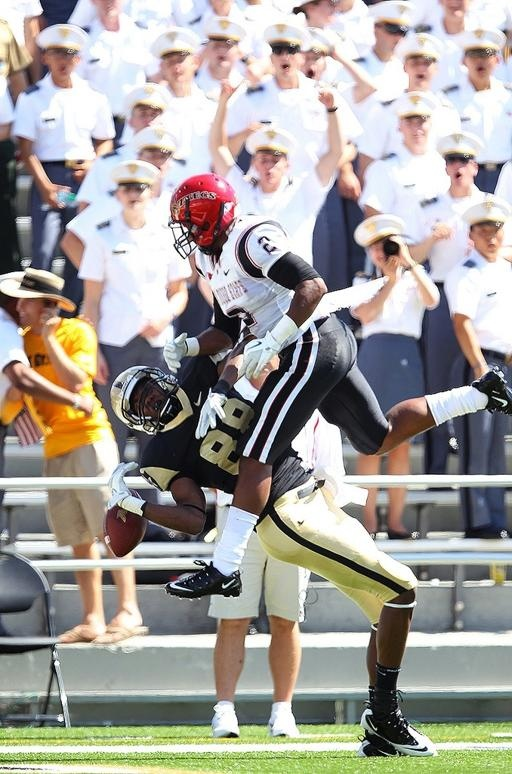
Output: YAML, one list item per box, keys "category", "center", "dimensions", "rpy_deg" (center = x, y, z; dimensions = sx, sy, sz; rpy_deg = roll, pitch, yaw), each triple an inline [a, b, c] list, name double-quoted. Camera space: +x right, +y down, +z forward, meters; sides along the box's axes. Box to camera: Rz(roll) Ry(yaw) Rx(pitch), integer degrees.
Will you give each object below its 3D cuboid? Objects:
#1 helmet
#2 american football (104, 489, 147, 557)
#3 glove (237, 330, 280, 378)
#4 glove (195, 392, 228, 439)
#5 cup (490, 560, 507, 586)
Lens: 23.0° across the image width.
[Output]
- category: "helmet"
  center: [-0.335, 0.041, 3.822]
  dimensions: [0.199, 0.161, 0.233]
  rpy_deg: [20, -1, -4]
- category: "american football"
  center: [-0.379, 0.394, 3.762]
  dimensions: [0.129, 0.178, 0.131]
  rpy_deg: [-13, 14, -33]
- category: "glove"
  center: [0.005, -0.096, 3.677]
  dimensions: [0.106, 0.149, 0.141]
  rpy_deg: [2, 11, -10]
- category: "glove"
  center: [-0.131, 0.080, 3.624]
  dimensions: [0.098, 0.123, 0.036]
  rpy_deg: [2, -14, -5]
- category: "cup"
  center: [1.056, 0.812, 5.486]
  dimensions: [0.082, 0.095, 0.074]
  rpy_deg: [-1, -27, 10]
